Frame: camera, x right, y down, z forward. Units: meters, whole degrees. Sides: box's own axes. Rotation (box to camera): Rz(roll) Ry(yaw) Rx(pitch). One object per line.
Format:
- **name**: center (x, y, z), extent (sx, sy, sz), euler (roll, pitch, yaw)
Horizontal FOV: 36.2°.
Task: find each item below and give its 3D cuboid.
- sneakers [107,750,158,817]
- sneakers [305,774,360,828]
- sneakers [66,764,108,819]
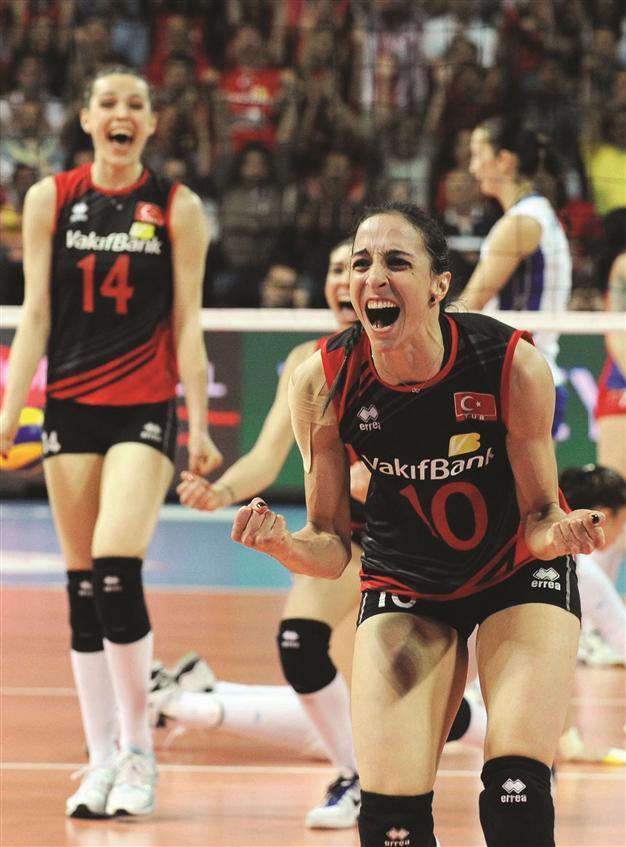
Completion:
- **sneakers**: center (-0.448, 0.905, 2.416), extent (0.150, 0.163, 0.114), euler (4, -1, -29)
- **sneakers**: center (0.060, 0.958, 2.414), extent (0.082, 0.091, 0.218), euler (-9, -16, 15)
- **sneakers**: center (-0.566, 0.928, 2.438), extent (0.103, 0.128, 0.172), euler (3, -1, -8)
